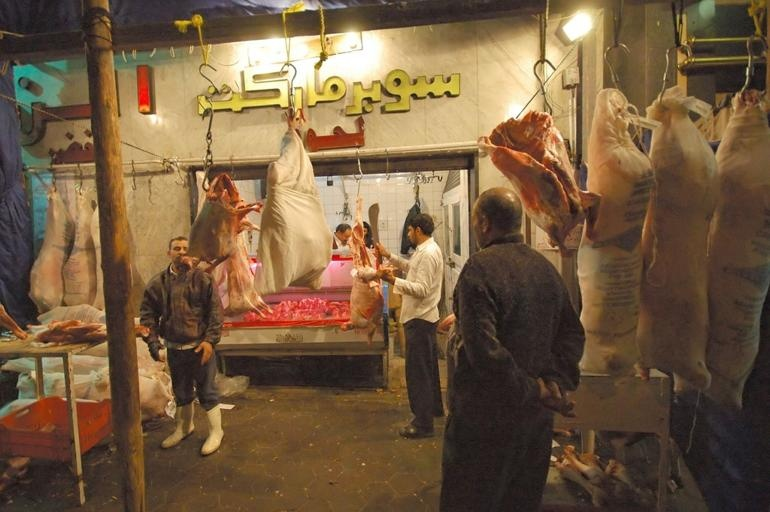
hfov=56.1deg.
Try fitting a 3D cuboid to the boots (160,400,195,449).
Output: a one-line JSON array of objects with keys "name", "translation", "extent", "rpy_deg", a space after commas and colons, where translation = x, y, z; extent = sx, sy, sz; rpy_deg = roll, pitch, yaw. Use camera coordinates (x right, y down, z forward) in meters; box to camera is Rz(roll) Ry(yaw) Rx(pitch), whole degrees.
[{"name": "boots", "translation": [-2.173, 1.769, 7.554], "extent": [0.162, 0.387, 0.456], "rpy_deg": [8, 15, 25]}]

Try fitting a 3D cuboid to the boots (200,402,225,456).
[{"name": "boots", "translation": [-1.787, 1.783, 7.428], "extent": [0.173, 0.395, 0.404], "rpy_deg": [-1, 19, 14]}]

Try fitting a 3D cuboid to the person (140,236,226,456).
[{"name": "person", "translation": [-2.069, 0.910, 7.379], "extent": [0.805, 2.172, 0.565], "rpy_deg": [-2, 9, -9]}]

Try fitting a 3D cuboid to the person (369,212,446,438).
[{"name": "person", "translation": [0.297, 0.705, 7.750], "extent": [0.654, 2.268, 0.846], "rpy_deg": [-1, 9, 1]}]
